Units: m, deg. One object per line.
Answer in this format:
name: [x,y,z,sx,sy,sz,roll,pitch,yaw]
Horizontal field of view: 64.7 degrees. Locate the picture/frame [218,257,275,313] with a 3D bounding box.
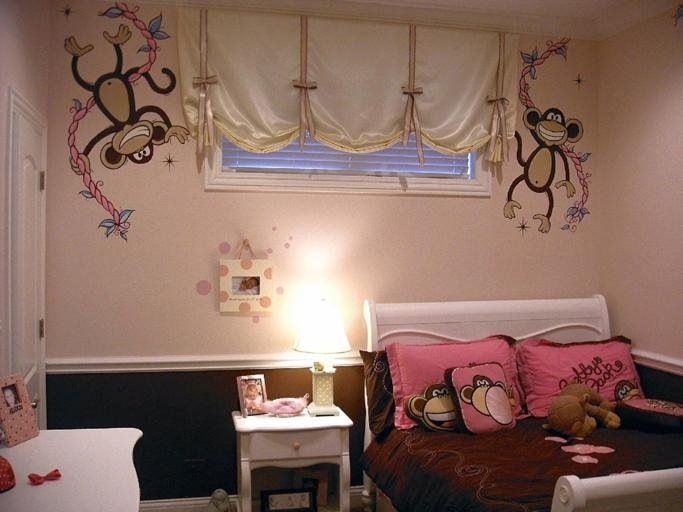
picture/frame: [-0.638,0.189,3.540,0.313,0.360,0.035,-1,4,-9]

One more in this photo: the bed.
bed: [0.997,0.853,3.079,1.195,0.840,1.258,-1,-3,-7]

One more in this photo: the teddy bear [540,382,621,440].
teddy bear: [1.372,0.887,3.118,0.431,0.306,0.321,-3,-1,-36]

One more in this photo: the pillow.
pillow: [1.013,0.764,3.438,1.705,0.613,0.479,-4,-1,-11]

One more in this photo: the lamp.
lamp: [-0.123,0.632,3.477,0.345,0.676,0.354,-3,-1,-4]

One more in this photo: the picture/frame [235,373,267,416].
picture/frame: [-0.562,0.876,3.381,0.208,0.320,0.049,-3,-15,-21]
